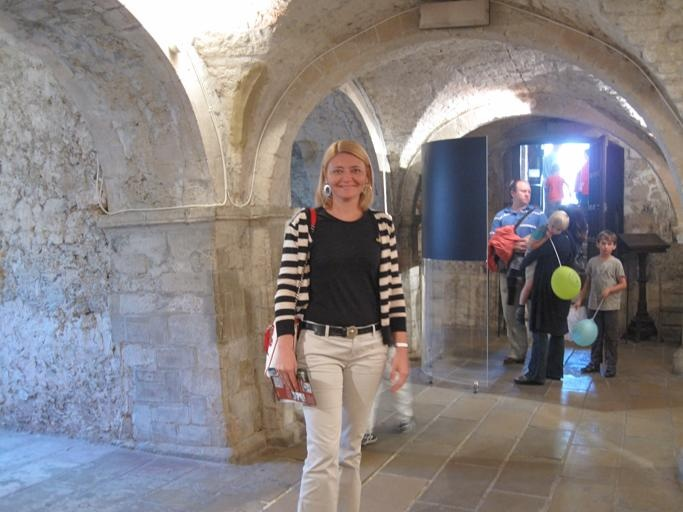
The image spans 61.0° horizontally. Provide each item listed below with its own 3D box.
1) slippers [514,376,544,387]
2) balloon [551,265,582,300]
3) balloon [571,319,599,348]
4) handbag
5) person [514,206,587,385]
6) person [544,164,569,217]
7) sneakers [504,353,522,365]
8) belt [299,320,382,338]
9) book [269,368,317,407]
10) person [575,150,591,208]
[{"bbox_3d":[1.736,1.144,5.401,0.245,0.105,0.094,6,0,19],"label":"slippers"},{"bbox_3d":[1.822,0.222,4.711,0.243,0.317,0.252,-2,15,27],"label":"balloon"},{"bbox_3d":[2.007,0.642,4.791,0.168,0.238,0.235,2,7,31],"label":"balloon"},{"bbox_3d":[-0.264,0.153,2.738,0.359,0.651,0.148,7,1,-24],"label":"handbag"},{"bbox_3d":[1.920,0.409,5.434,0.550,1.612,1.419,1,7,21],"label":"person"},{"bbox_3d":[3.295,-0.982,8.904,0.299,0.847,0.245,5,32,23],"label":"person"},{"bbox_3d":[1.853,1.116,6.261,0.210,0.102,0.084,3,0,1],"label":"sneakers"},{"bbox_3d":[-0.009,0.333,2.669,0.360,0.075,0.070,-2,6,-1],"label":"belt"},{"bbox_3d":[-0.226,0.598,2.637,0.223,0.179,0.070,2,7,32],"label":"book"},{"bbox_3d":[3.484,-1.112,8.373,0.125,0.809,0.517,0,6,12],"label":"person"}]
